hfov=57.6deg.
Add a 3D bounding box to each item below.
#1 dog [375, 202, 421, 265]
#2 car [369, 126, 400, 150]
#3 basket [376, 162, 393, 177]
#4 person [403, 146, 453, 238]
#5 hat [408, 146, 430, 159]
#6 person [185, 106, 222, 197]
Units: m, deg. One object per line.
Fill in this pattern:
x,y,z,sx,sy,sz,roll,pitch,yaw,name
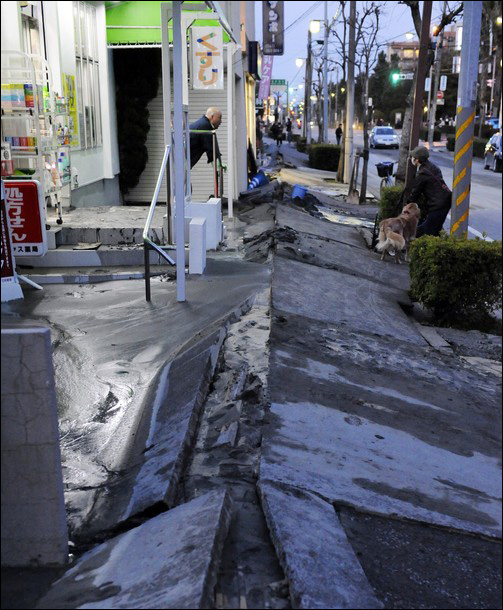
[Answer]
3.392,-1.651,10.396,0.502,1.145,2.049,6,19,37,dog
14.815,-19.078,52.320,2.452,2.038,4.700,0,18,2,car
5.390,-5.479,18.588,0.543,0.668,1.288,9,1,19,basket
3.918,-2.523,10.120,0.945,2.090,0.543,8,1,16,person
3.811,-3.394,10.418,0.405,0.313,0.586,-2,23,-6,hat
-1.049,-3.819,10.305,0.738,1.288,0.912,8,1,-7,person
